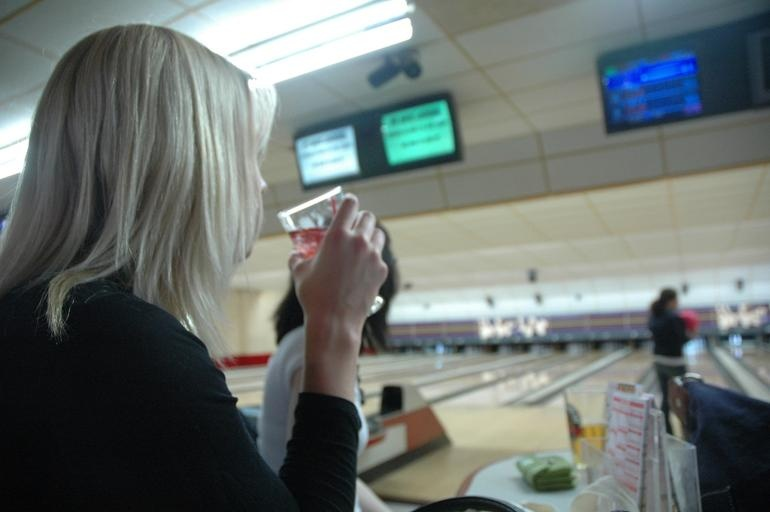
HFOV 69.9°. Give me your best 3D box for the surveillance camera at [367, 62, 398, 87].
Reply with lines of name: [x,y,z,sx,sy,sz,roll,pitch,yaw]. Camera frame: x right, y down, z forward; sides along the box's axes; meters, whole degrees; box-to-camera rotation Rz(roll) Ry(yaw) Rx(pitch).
surveillance camera: [-0.011,-0.587,1.789,0.105,0.051,0.026,-18,-5,43]

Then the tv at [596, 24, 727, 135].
tv: [0.720,-0.478,1.511,0.284,0.221,0.245,-12,-27,7]

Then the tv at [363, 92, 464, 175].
tv: [0.102,-0.395,1.739,0.293,0.200,0.038,-9,3,31]

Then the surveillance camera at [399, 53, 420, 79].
surveillance camera: [0.084,-0.601,1.745,0.068,0.075,0.017,-6,-2,18]
